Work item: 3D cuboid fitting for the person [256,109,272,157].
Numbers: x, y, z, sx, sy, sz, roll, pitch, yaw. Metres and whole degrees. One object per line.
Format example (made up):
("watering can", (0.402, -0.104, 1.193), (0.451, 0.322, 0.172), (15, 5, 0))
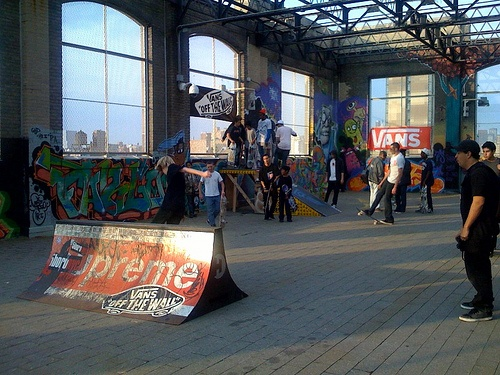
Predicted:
("person", (0.645, -2.284, 18.086), (0.647, 2.208, 1.579), (-1, 5, -3))

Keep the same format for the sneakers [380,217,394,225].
("sneakers", (4.496, 1.110, 13.837), (0.190, 0.260, 0.535), (-4, 8, -29))

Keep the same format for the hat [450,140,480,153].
("hat", (3.249, -0.611, 6.308), (0.260, 0.154, 0.206), (4, 4, 33))

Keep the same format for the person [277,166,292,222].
("person", (1.241, 0.216, 14.948), (0.484, 1.938, 0.659), (0, 4, 3))

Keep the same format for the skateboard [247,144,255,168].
("skateboard", (0.023, -1.305, 18.009), (0.242, 1.000, 0.479), (1, 5, 18))

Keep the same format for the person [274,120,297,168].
("person", (1.379, -1.852, 17.882), (0.696, 1.912, 0.740), (0, 4, 1))

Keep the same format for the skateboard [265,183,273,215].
("skateboard", (0.711, 0.515, 15.306), (0.343, 1.125, 0.233), (-9, -10, 39))

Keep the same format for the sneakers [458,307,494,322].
("sneakers", (3.281, 1.818, 6.162), (0.477, 0.247, 0.193), (1, -3, 6))

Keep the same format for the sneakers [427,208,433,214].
("sneakers", (7.019, 0.926, 16.438), (0.202, 0.244, 0.123), (4, 10, 11))

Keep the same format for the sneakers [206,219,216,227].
("sneakers", (-1.176, 1.068, 12.652), (0.117, 0.110, 0.380), (-31, 7, 4))

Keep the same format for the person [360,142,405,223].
("person", (4.499, -0.132, 13.962), (1.113, 2.649, 0.991), (3, 6, 37))

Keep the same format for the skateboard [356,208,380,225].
("skateboard", (4.144, 0.969, 14.611), (0.151, 0.277, 1.121), (1, 32, -29))

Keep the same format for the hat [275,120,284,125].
("hat", (1.240, -2.741, 17.911), (0.268, 0.170, 0.215), (7, 5, 22))

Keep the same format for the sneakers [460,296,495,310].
("sneakers", (3.454, 1.782, 6.422), (0.404, 0.196, 0.151), (0, 2, 26))

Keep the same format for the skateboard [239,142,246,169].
("skateboard", (-0.357, -1.344, 17.730), (0.174, 1.295, 0.422), (4, 0, 15))
